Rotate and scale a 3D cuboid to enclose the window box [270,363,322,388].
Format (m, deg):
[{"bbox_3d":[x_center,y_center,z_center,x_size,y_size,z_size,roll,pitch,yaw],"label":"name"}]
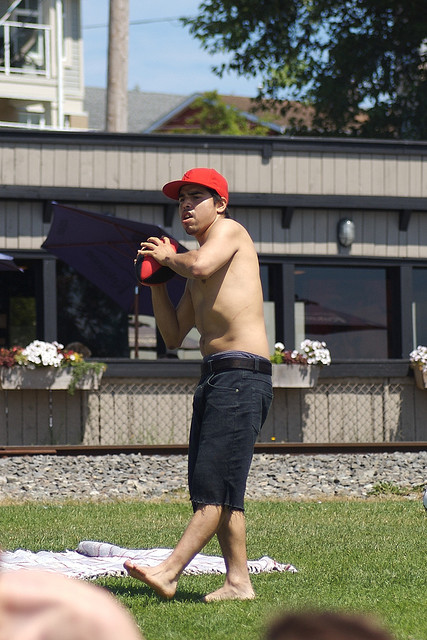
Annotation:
[{"bbox_3d":[1.020,0.729,23.817,0.485,0.371,0.246,3,43,-7],"label":"window box"}]

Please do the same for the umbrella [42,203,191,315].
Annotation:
[{"bbox_3d":[-1.420,-0.826,23.526,1.410,1.609,1.663,7,9,41],"label":"umbrella"}]

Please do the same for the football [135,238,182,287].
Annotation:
[{"bbox_3d":[-0.550,-0.530,17.897,0.308,0.513,0.341,3,2,37],"label":"football"}]
